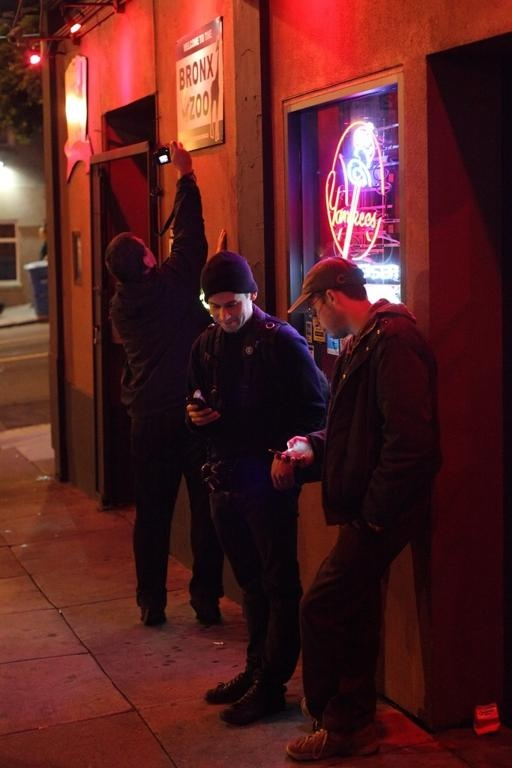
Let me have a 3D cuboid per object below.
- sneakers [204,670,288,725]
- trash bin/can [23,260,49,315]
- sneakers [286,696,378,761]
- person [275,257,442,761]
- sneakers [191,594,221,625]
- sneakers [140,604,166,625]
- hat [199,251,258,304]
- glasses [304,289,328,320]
[{"bbox_3d":[-0.039,1.224,2.880,0.271,0.116,0.283,-1,0,-23],"label":"sneakers"},{"bbox_3d":[-6.590,-2.964,21.736,0.575,1.820,1.947,0,-1,-19],"label":"trash bin/can"},{"bbox_3d":[0.266,1.201,2.539,0.326,0.285,0.131,2,-2,-1],"label":"sneakers"},{"bbox_3d":[0.352,0.415,2.331,0.334,1.166,0.612,0,-1,-31],"label":"person"},{"bbox_3d":[-0.271,1.276,4.016,0.091,0.187,0.169,-14,2,0],"label":"sneakers"},{"bbox_3d":[-0.574,1.254,4.025,0.076,0.152,0.122,2,-2,-37],"label":"sneakers"},{"bbox_3d":[-0.105,-0.412,2.846,0.140,0.182,0.219,-8,-32,11],"label":"hat"},{"bbox_3d":[0.204,-0.274,2.443,0.034,0.098,0.081,-5,16,-14],"label":"glasses"}]
